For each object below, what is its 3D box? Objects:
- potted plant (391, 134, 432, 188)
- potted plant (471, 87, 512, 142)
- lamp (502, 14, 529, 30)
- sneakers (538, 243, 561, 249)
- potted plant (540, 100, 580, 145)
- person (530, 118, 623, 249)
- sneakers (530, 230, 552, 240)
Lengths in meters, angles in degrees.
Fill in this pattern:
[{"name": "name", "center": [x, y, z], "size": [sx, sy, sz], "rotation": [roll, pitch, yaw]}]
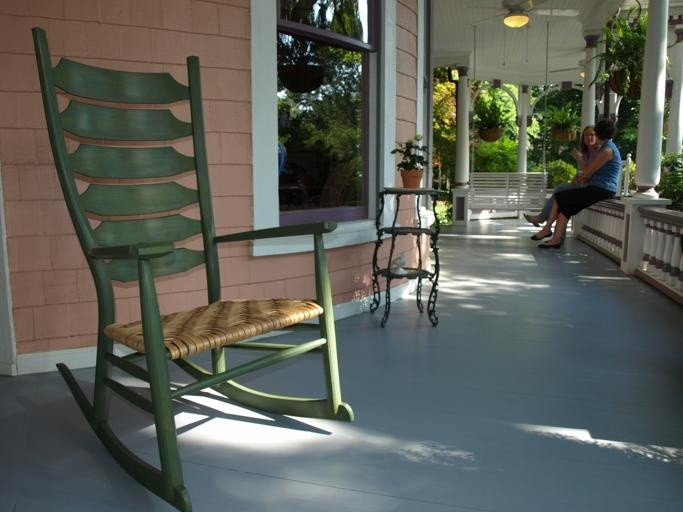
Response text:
[{"name": "potted plant", "center": [0.537, -0.700, 3.990], "size": [0.271, 0.340, 0.261], "rotation": [8, 4, 14]}, {"name": "potted plant", "center": [3.250, -2.967, 11.184], "size": [0.751, 0.976, 0.708], "rotation": [1, 7, 26]}, {"name": "lamp", "center": [2.543, -3.473, 7.453], "size": [0.308, 0.193, 0.322], "rotation": [1, 12, 22]}, {"name": "sneakers", "center": [2.814, -0.129, 6.960], "size": [0.275, 0.078, 0.100], "rotation": [5, 5, 16]}, {"name": "potted plant", "center": [4.974, -2.959, 11.481], "size": [0.686, 0.766, 0.705], "rotation": [-2, 6, 8]}, {"name": "person", "center": [3.120, -0.887, 6.607], "size": [0.779, 1.652, 0.394], "rotation": [4, 13, 32]}, {"name": "sneakers", "center": [2.909, -0.308, 7.510], "size": [0.352, 0.145, 0.133], "rotation": [-2, 7, -5]}]
